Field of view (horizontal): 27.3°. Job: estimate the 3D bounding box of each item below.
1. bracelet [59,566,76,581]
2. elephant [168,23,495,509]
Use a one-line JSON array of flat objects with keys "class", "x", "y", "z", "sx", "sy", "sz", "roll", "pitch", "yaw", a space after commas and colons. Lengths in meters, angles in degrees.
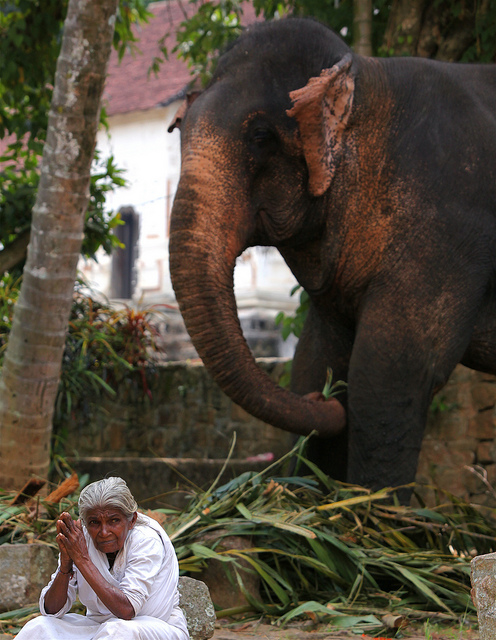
[{"class": "bracelet", "x": -0.523, "y": 0.752, "z": 3.035, "sx": 0.036, "sy": 0.041, "sz": 0.017, "roll": -5, "pitch": 2, "yaw": -14}, {"class": "elephant", "x": 0.374, "y": -0.225, "z": 3.865, "sx": 1.298, "sy": 1.796, "sz": 0.744, "roll": -5, "pitch": 13, "yaw": -4}]
